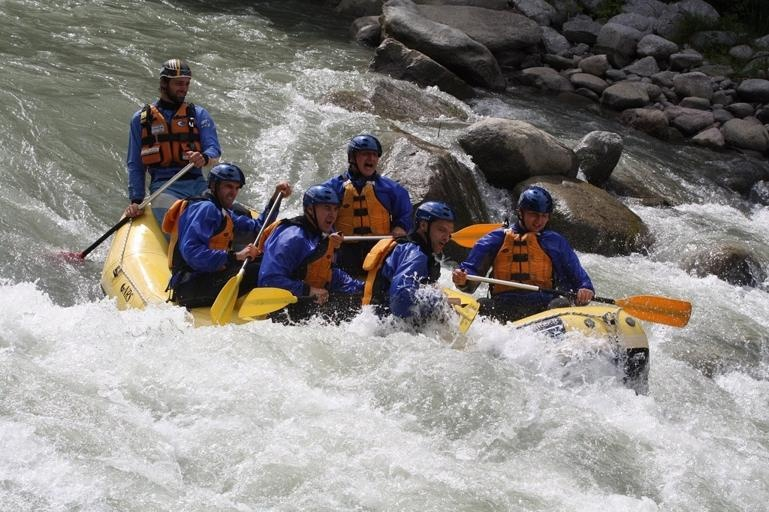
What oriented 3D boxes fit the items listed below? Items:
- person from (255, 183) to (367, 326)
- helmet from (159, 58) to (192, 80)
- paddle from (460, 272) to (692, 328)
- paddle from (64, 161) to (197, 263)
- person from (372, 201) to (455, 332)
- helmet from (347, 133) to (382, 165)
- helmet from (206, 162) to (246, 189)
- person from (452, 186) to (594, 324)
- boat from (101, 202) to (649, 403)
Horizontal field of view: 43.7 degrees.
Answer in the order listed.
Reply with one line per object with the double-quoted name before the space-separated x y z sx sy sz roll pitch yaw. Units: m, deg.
"person" -0.836 0.142 10.701 1.259 1.874 1.024 -2 22 -32
"helmet" -2.548 -2.247 11.624 0.334 0.240 0.351 10 11 -14
"paddle" 2.097 0.519 10.977 3.037 0.343 0.124 11 6 1
"paddle" -3.100 -0.489 11.640 0.314 1.898 0.196 51 4 -6
"person" 0.275 0.132 10.530 0.858 1.644 0.969 -2 19 -20
"helmet" -0.258 -1.302 11.370 0.278 0.285 0.386 -1 -22 -25
"helmet" -1.767 -0.898 10.600 0.340 0.217 0.245 -16 -15 37
"person" 1.588 0.031 10.930 1.514 1.600 0.962 2 -4 5
"boat" -0.314 0.477 10.511 5.010 1.044 2.502 16 12 8
